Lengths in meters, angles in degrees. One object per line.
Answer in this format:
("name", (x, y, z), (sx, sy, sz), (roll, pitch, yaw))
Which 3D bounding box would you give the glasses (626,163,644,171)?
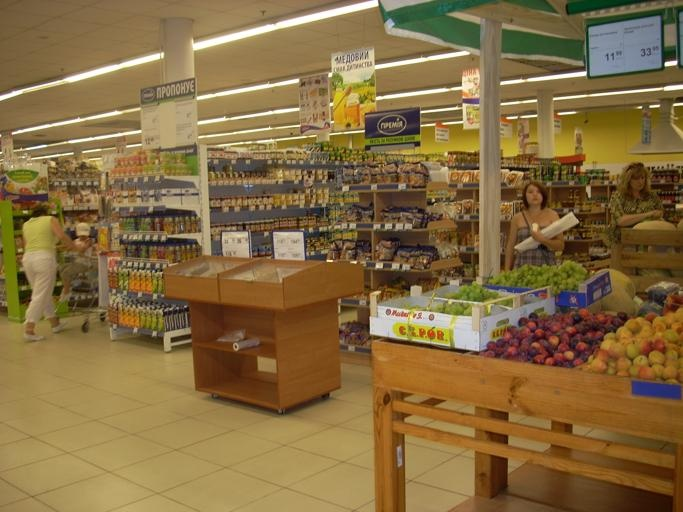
("glasses", (3.346, -1.015, 6.042), (0.110, 0.060, 0.130), (0, 5, 17))

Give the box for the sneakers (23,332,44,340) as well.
("sneakers", (-4.814, 1.256, 8.269), (0.285, 0.112, 0.103), (2, 4, -31))

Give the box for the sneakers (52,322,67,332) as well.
("sneakers", (-4.737, 1.182, 8.908), (0.098, 0.117, 0.285), (1, 13, 13))

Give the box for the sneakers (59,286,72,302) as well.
("sneakers", (-4.956, 0.668, 9.454), (0.167, 0.314, 0.128), (-2, -29, 45))

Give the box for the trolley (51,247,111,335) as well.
("trolley", (-4.689, 0.651, 9.794), (1.288, 1.128, 0.829), (10, -7, 7))
